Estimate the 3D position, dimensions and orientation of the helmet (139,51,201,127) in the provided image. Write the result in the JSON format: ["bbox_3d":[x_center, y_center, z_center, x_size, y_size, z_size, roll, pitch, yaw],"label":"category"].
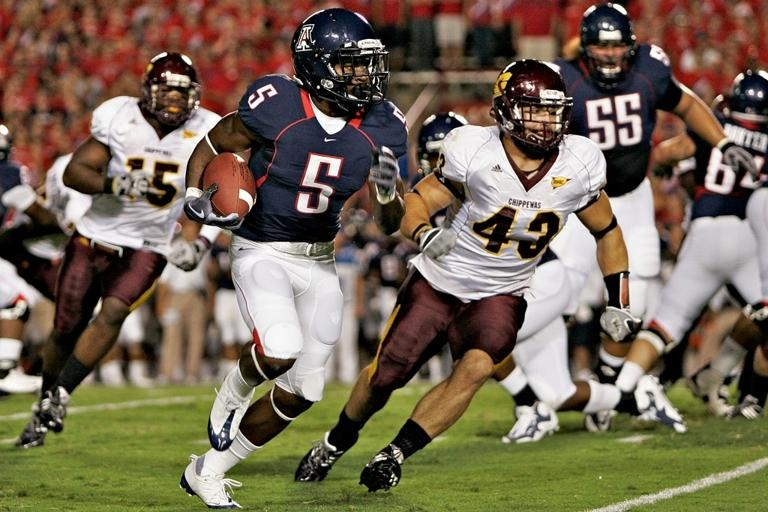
[{"bbox_3d":[-1.396,-1.038,5.986,0.359,0.403,0.493,3,37,-21],"label":"helmet"}]

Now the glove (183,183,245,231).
[{"bbox_3d":[-0.886,-0.238,4.826,0.247,0.126,0.238,1,49,-22],"label":"glove"}]

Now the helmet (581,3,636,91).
[{"bbox_3d":[1.466,-1.459,6.315,0.419,0.536,0.468,-3,-34,5],"label":"helmet"}]

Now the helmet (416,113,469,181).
[{"bbox_3d":[0.380,-0.805,6.250,0.349,0.437,0.443,-3,-40,-9],"label":"helmet"}]

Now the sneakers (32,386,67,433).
[{"bbox_3d":[-2.012,0.937,5.583,0.240,0.241,0.112,47,12,28],"label":"sneakers"}]

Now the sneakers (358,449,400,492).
[{"bbox_3d":[-0.010,1.115,4.811,0.232,0.240,0.093,-2,3,-2],"label":"sneakers"}]

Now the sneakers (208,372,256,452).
[{"bbox_3d":[-0.825,0.814,4.941,0.190,0.484,0.195,24,-11,-19],"label":"sneakers"}]

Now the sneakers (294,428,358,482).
[{"bbox_3d":[-0.328,1.184,5.411,0.104,0.306,0.128,44,1,-18],"label":"sneakers"}]

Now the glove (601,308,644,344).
[{"bbox_3d":[1.310,0.383,5.178,0.219,0.190,0.169,34,2,13],"label":"glove"}]

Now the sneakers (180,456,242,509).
[{"bbox_3d":[-0.924,1.219,4.926,0.343,0.165,0.125,27,10,15],"label":"sneakers"}]

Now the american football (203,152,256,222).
[{"bbox_3d":[-0.821,-0.331,4.986,0.249,0.351,0.216,-12,-26,-4],"label":"american football"}]

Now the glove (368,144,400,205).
[{"bbox_3d":[0.020,-0.414,4.791,0.165,0.288,0.124,18,-4,-30],"label":"glove"}]

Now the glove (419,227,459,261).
[{"bbox_3d":[0.282,-0.064,4.907,0.181,0.158,0.072,-1,3,1],"label":"glove"}]
